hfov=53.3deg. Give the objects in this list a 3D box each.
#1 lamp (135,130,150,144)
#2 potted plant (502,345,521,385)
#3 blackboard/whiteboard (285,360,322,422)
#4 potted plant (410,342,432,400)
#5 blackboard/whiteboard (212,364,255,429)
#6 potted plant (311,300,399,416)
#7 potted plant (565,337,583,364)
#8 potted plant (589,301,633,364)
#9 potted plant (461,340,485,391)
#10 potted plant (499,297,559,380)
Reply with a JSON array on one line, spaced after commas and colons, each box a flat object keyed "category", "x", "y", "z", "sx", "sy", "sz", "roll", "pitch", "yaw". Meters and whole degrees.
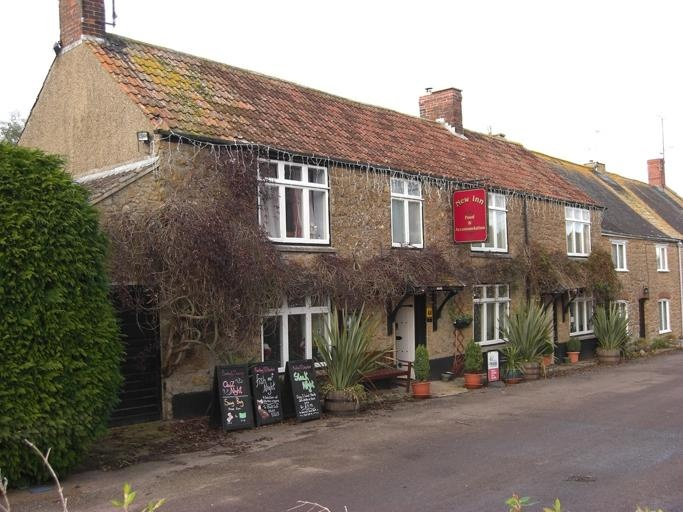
[{"category": "lamp", "x": -4.298, "y": -2.588, "z": 14.872, "sx": 0.268, "sy": 0.315, "sz": 0.076, "roll": 0, "pitch": 2, "yaw": 8}, {"category": "potted plant", "x": 5.088, "y": 3.252, "z": 20.162, "sx": 0.599, "sy": 1.054, "sz": 0.619, "roll": -8, "pitch": -13, "yaw": 31}, {"category": "blackboard/whiteboard", "x": -0.847, "y": 3.060, "z": 15.407, "sx": 0.712, "sy": 1.362, "sz": 0.742, "roll": -7, "pitch": -9, "yaw": -9}, {"category": "potted plant", "x": 2.040, "y": 3.010, "z": 17.741, "sx": 0.488, "sy": 1.354, "sz": 0.871, "roll": -5, "pitch": -6, "yaw": 6}, {"category": "blackboard/whiteboard", "x": -2.291, "y": 2.964, "z": 14.165, "sx": 0.880, "sy": 1.590, "sz": 0.575, "roll": 9, "pitch": -28, "yaw": -39}, {"category": "potted plant", "x": 0.309, "y": 2.550, "z": 16.818, "sx": 2.030, "sy": 3.181, "sz": 2.097, "roll": -5, "pitch": -8, "yaw": 41}, {"category": "potted plant", "x": 8.387, "y": 3.427, "z": 24.596, "sx": 0.684, "sy": 1.245, "sz": 0.712, "roll": -3, "pitch": -4, "yaw": 34}, {"category": "potted plant", "x": 9.901, "y": 2.910, "z": 24.744, "sx": 1.333, "sy": 1.972, "sz": 1.118, "roll": 3, "pitch": 1, "yaw": -29}, {"category": "potted plant", "x": 3.655, "y": 3.065, "z": 19.191, "sx": 0.543, "sy": 1.295, "sz": 0.542, "roll": 9, "pitch": -3, "yaw": -12}, {"category": "potted plant", "x": 5.646, "y": 2.655, "z": 21.119, "sx": 1.723, "sy": 3.100, "sz": 2.231, "roll": 1, "pitch": -4, "yaw": 2}]
